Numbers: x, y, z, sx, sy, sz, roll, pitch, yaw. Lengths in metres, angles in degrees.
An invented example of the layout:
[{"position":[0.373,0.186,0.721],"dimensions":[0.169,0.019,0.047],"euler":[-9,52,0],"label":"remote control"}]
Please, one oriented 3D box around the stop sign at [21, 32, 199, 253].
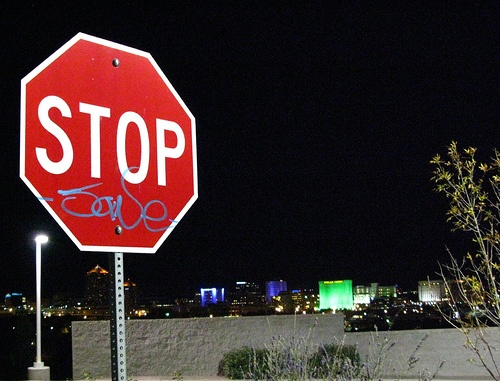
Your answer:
[{"position":[-0.761,-0.220,2.858],"dimensions":[1.095,1.265,0.110],"euler":[4,-18,-34],"label":"stop sign"}]
